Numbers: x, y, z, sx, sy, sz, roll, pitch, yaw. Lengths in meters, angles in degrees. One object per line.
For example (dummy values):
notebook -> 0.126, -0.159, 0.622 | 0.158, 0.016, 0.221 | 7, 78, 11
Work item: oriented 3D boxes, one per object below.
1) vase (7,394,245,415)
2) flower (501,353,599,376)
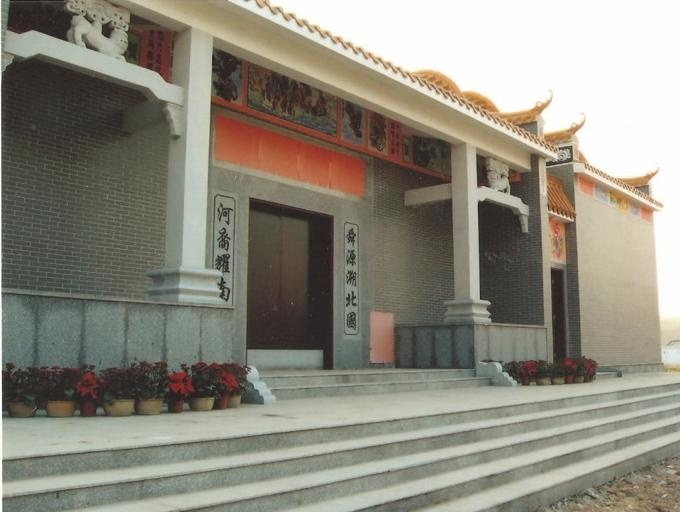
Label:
vase -> -1.992, 1.432, 5.718 | 2.068, 0.199, 0.329 | 4, -10, -31
flower -> 3.934, 2.065, 11.091 | 1.317, 0.381, 0.850 | -2, -3, -24
